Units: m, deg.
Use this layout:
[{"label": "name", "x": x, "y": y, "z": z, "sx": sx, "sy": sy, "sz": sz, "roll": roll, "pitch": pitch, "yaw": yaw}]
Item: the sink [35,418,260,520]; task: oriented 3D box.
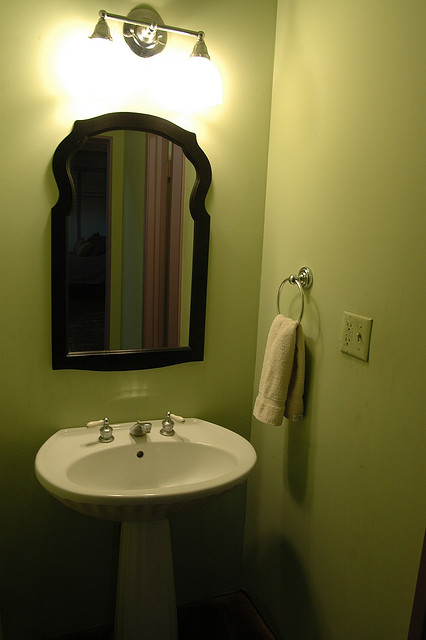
[{"label": "sink", "x": -0.177, "y": 0.414, "z": 1.408, "sx": 0.586, "sy": 0.177, "sz": 0.487, "roll": 0, "pitch": 8, "yaw": -21}]

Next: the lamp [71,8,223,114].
[{"label": "lamp", "x": -0.146, "y": -0.731, "z": 1.384, "sx": 0.445, "sy": 0.263, "sz": 0.130, "roll": -1, "pitch": 8, "yaw": -25}]

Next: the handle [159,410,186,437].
[{"label": "handle", "x": -0.129, "y": 0.327, "z": 1.610, "sx": 0.048, "sy": 0.070, "sz": 0.083, "roll": 2, "pitch": 5, "yaw": -26}]

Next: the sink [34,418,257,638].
[{"label": "sink", "x": -0.222, "y": 0.618, "z": 1.524, "sx": 0.582, "sy": 0.825, "sz": 0.514, "roll": -3, "pitch": 7, "yaw": -20}]

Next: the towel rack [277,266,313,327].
[{"label": "towel rack", "x": 0.236, "y": -0.068, "z": 1.475, "sx": 0.057, "sy": 0.195, "sz": 0.139, "roll": -4, "pitch": 10, "yaw": -24}]

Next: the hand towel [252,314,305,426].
[{"label": "hand towel", "x": 0.183, "y": 0.138, "z": 1.429, "sx": 0.138, "sy": 0.286, "sz": 0.131, "roll": 6, "pitch": 8, "yaw": 28}]
